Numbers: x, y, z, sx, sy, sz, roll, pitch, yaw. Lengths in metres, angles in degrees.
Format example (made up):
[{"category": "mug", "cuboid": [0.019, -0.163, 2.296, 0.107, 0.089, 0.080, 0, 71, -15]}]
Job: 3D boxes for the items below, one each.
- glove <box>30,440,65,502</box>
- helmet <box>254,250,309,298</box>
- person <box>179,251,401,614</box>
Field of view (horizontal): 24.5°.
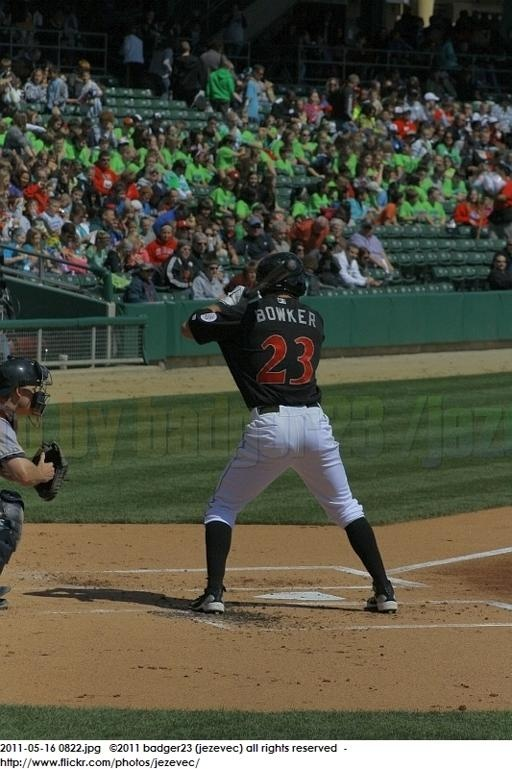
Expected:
[{"category": "glove", "cuboid": [-0.886, 0.378, 5.177, 0.106, 0.257, 0.200, -4, -26, 1]}, {"category": "helmet", "cuboid": [0.084, -0.506, 5.345, 0.181, 0.195, 0.236, 14, 28, 39]}, {"category": "person", "cuboid": [0.127, 0.233, 5.189, 0.941, 1.622, 0.483, 3, 6, -4]}]
